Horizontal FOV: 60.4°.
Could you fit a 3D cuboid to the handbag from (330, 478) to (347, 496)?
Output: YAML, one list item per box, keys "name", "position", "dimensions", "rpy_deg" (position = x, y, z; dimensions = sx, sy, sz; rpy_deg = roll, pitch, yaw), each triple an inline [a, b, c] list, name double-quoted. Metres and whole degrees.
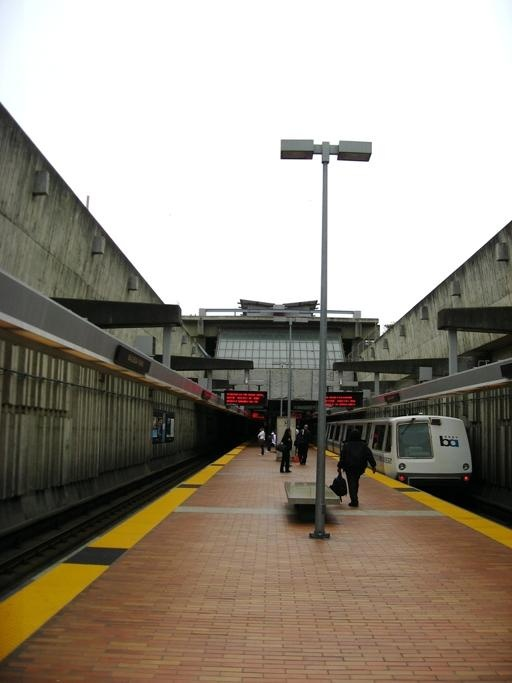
- name: "handbag"
  position: [1.869, 3.285, 9.974]
  dimensions: [0.303, 0.450, 0.448]
  rpy_deg: [7, -7, 18]
